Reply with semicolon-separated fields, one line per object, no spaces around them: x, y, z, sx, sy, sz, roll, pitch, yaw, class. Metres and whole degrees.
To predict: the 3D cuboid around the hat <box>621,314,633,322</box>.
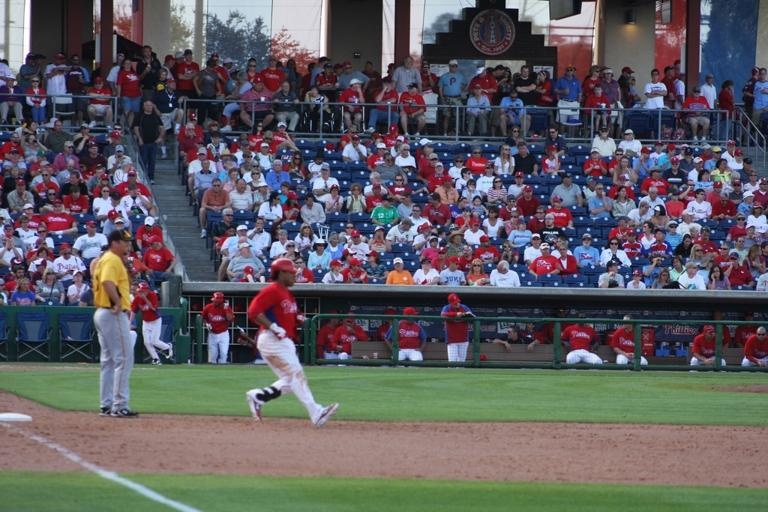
6.338;1.645;55.678;0.177;0.211;0.212;-7;-13;-3;hat

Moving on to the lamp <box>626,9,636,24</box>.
8.120;-8.061;70.209;0.322;0.480;0.110;0;3;6;lamp

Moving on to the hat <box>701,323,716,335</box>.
8.311;1.871;54.361;0.203;0.142;0.278;2;4;-17;hat

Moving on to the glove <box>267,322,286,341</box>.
-2.390;1.653;46.892;0.149;0.409;0.264;-51;2;-22;glove

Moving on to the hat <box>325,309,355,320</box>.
-1.183;1.521;54.558;0.443;0.172;0.316;7;0;5;hat

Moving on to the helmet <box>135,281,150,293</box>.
-6.223;0.755;54.277;0.261;0.220;0.456;0;3;4;helmet

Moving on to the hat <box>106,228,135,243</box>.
-5.891;-0.474;47.304;0.604;0.288;0.406;-10;2;-13;hat

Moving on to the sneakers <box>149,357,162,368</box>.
-5.906;2.745;54.244;0.166;0.176;0.436;-1;-7;3;sneakers

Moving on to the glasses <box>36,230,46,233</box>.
-9.064;-0.674;55.808;0.203;0.108;0.315;-1;3;-16;glasses

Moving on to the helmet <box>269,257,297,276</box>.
-2.263;0.202;47.009;0.479;0.224;0.325;1;5;-4;helmet

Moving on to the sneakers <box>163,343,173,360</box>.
-5.617;2.478;54.747;0.172;0.425;0.256;0;3;14;sneakers
